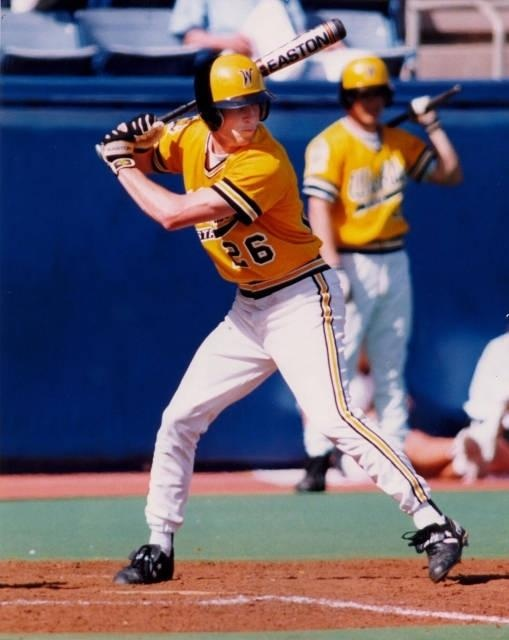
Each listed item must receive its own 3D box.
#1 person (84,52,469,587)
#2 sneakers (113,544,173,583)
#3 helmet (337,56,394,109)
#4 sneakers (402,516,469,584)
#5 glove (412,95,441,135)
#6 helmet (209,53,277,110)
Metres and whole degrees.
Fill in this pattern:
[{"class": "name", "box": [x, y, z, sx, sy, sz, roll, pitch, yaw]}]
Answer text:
[{"class": "person", "box": [0.048, 0.028, 2.965, 0.943, 1.520, 0.606, -1, 16, -7]}, {"class": "sneakers", "box": [-0.318, 0.700, 3.006, 0.183, 0.087, 0.086, 0, -3, -9]}, {"class": "helmet", "box": [0.404, -0.904, 4.009, 0.180, 0.155, 0.222, -4, -9, -5]}, {"class": "sneakers", "box": [0.529, 0.627, 2.998, 0.134, 0.091, 0.281, 2, 22, 5]}, {"class": "glove", "box": [0.644, -0.761, 3.860, 0.049, 0.125, 0.100, -29, 35, -15]}, {"class": "helmet", "box": [-0.041, -0.629, 2.752, 0.162, 0.142, 0.152, 3, 15, 10]}]
